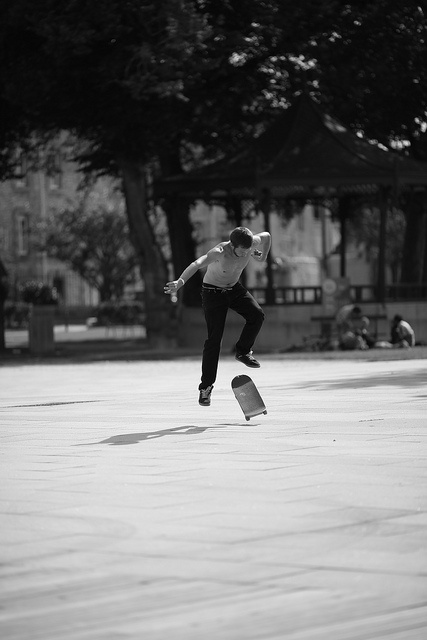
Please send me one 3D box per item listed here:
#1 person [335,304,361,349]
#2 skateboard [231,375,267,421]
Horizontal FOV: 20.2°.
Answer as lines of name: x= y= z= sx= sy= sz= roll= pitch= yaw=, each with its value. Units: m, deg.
person: x=1.956 y=0.111 z=17.624 sx=0.329 sy=0.630 sz=1.057 roll=1 pitch=3 yaw=0
skateboard: x=0.234 y=0.520 z=8.174 sx=0.158 sy=0.300 sz=0.156 roll=-24 pitch=4 yaw=1
